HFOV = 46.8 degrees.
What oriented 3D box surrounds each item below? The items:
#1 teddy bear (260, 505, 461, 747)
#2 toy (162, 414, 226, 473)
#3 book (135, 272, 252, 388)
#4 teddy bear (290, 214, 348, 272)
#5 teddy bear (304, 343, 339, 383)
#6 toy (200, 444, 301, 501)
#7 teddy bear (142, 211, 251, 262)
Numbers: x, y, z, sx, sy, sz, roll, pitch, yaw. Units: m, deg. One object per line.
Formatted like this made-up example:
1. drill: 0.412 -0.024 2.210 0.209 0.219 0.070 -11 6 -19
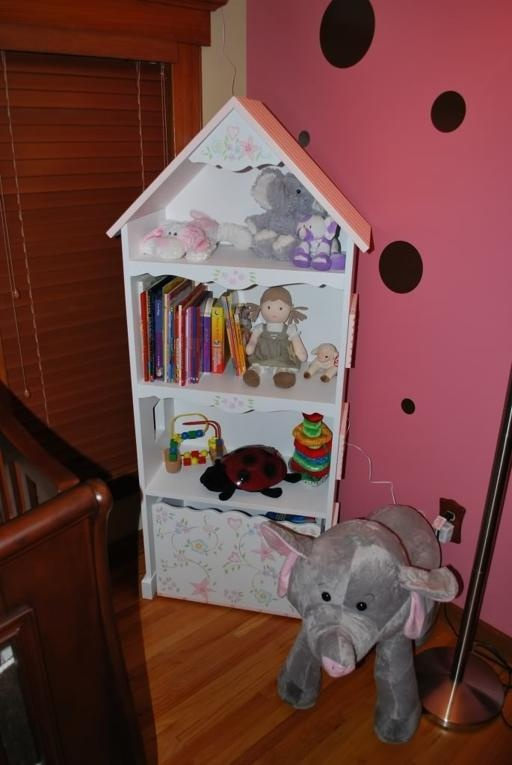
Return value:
1. teddy bear: 0.299 0.618 1.497 0.472 0.603 0.394 -7 16 -28
2. toy: -0.209 0.212 2.013 0.177 0.158 0.080 0 28 3
3. book: -0.176 -0.147 1.867 0.293 0.376 0.398 5 28 7
4. teddy bear: 0.177 -0.339 1.554 0.125 0.166 0.121 4 -18 32
5. teddy bear: 0.199 -0.047 1.790 0.087 0.085 0.126 16 56 18
6. toy: -0.030 0.274 1.854 0.196 0.071 0.174 -4 27 -6
7. teddy bear: -0.164 -0.405 1.639 0.285 0.131 0.199 -9 17 -34
